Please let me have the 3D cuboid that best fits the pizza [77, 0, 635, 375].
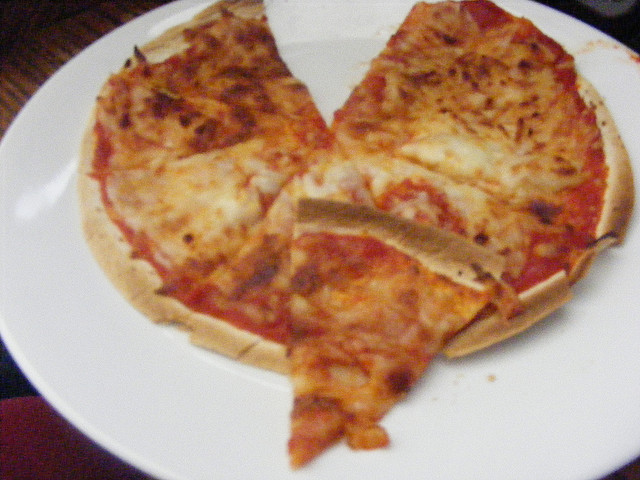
[{"bbox_3d":[0.075,-0.184,1.722,1.306,0.225,0.961,-5,79,-1],"label":"pizza"}]
